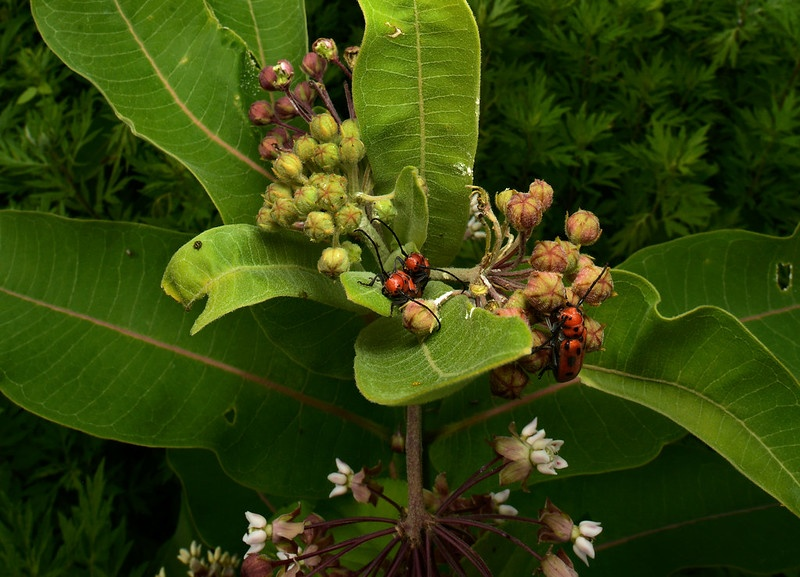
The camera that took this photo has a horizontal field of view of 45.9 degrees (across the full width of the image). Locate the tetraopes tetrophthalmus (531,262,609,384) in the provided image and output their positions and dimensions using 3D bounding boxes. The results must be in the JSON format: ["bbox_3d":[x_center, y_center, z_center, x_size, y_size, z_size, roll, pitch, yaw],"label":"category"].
[{"bbox_3d":[0.474,0.094,2.690,0.216,0.332,0.091,4,8,-22],"label":"tetraopes tetrophthalmus"}]

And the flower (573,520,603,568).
[{"bbox_3d":[0.578,0.789,2.928,0.072,0.164,0.108,12,54,28],"label":"flower"}]

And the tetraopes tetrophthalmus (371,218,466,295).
[{"bbox_3d":[0.019,-0.081,2.785,0.200,0.150,0.366,-42,29,-6],"label":"tetraopes tetrophthalmus"}]

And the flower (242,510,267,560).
[{"bbox_3d":[-0.455,0.785,3.001,0.055,0.109,0.138,4,66,4],"label":"flower"}]

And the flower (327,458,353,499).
[{"bbox_3d":[-0.208,0.607,3.078,0.033,0.101,0.132,4,95,30],"label":"flower"}]

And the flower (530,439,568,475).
[{"bbox_3d":[0.450,0.515,2.900,0.096,0.053,0.127,-12,67,-23],"label":"flower"}]
